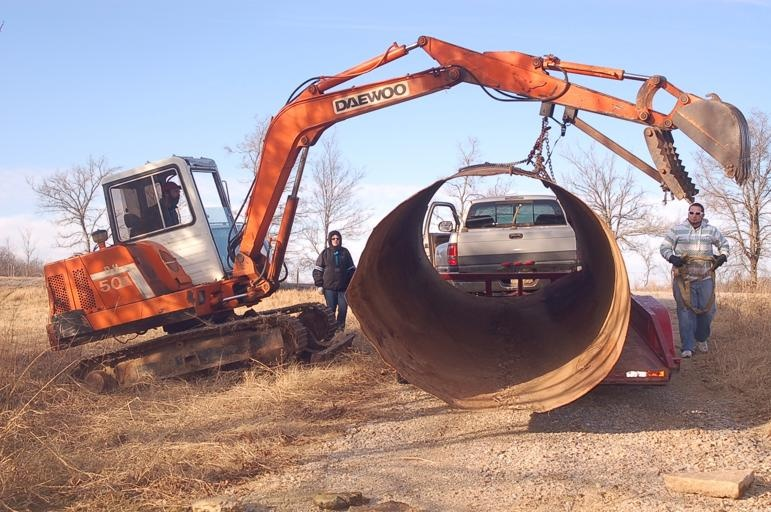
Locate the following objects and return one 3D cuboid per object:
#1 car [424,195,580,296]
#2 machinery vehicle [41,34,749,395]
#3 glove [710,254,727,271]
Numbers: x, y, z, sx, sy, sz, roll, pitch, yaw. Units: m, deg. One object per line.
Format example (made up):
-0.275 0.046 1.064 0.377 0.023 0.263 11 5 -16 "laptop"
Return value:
2.026 -0.241 9.996 1.754 1.047 2.249 -1 5 4 "car"
-0.108 -0.719 9.082 9.774 4.437 2.853 -4 7 11 "machinery vehicle"
4.983 0.078 9.115 0.183 0.237 0.356 3 13 28 "glove"
